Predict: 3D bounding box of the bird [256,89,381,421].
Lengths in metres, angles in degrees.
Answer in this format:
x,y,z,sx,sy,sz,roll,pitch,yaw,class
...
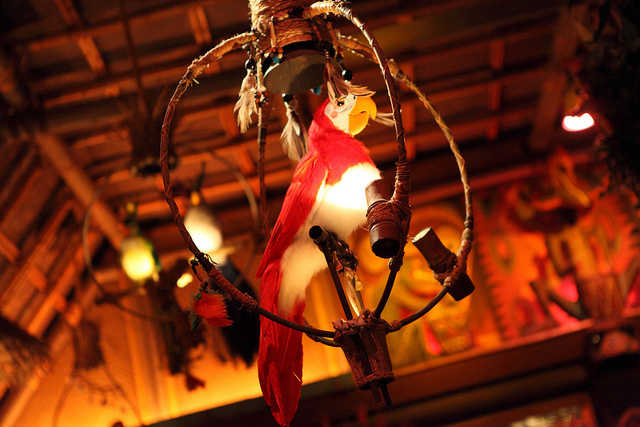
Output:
x,y,z,sx,sy,sz,roll,pitch,yaw,class
-0.031,0.144,4.241,0.456,1.372,1.251,17,-47,-25,bird
